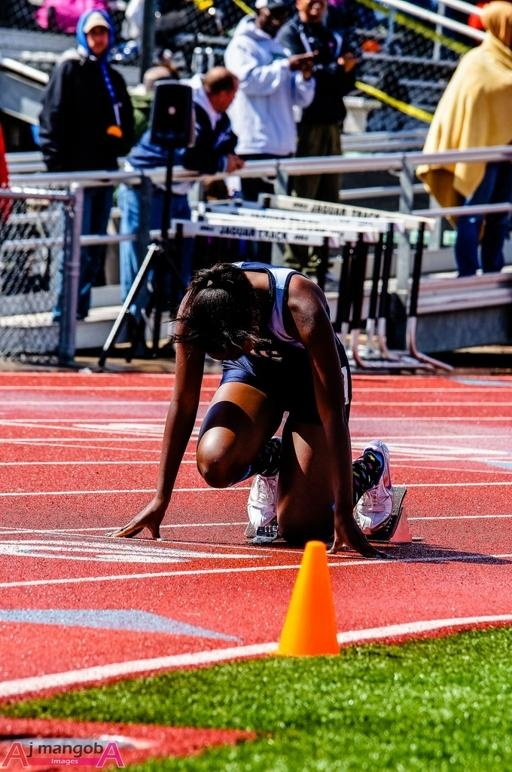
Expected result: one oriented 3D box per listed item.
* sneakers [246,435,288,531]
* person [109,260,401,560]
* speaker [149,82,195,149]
[{"bbox_3d":[0.024,0.363,3.482,0.107,0.343,0.139,6,2,13],"label":"sneakers"},{"bbox_3d":[0.038,0.067,3.346,1.105,0.903,0.451,1,11,0],"label":"person"},{"bbox_3d":[-0.593,-1.902,6.919,0.232,0.485,0.246,-12,21,-35],"label":"speaker"}]
